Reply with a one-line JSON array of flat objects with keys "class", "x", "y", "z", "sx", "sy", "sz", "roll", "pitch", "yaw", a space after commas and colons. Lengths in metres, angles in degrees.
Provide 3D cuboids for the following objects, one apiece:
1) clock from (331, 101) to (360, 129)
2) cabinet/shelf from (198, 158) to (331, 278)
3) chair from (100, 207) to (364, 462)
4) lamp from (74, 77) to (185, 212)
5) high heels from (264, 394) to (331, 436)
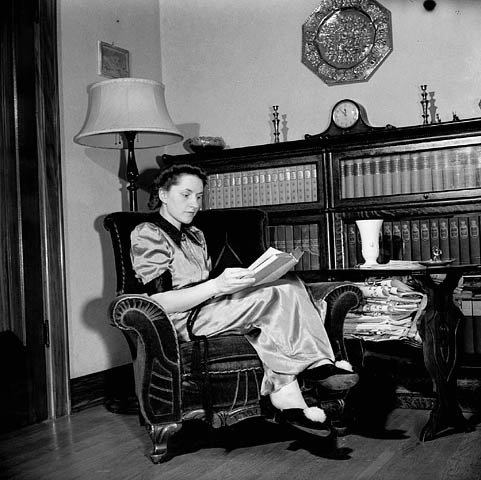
[{"class": "clock", "x": 0.601, "y": -0.699, "z": 4.050, "sx": 0.131, "sy": 0.178, "sz": 0.162, "roll": 1, "pitch": 1, "yaw": 17}, {"class": "cabinet/shelf", "x": 0.163, "y": -0.116, "z": 3.762, "sx": 0.567, "sy": 0.634, "sz": 0.187, "roll": -1, "pitch": -2, "yaw": 25}, {"class": "chair", "x": -0.069, "y": 0.361, "z": 3.075, "sx": 0.996, "sy": 1.016, "sz": 0.922, "roll": -4, "pitch": 3, "yaw": -17}, {"class": "lamp", "x": -0.587, "y": -0.395, "z": 3.861, "sx": 0.517, "sy": 0.871, "sz": 0.542, "roll": -2, "pitch": -1, "yaw": -30}, {"class": "high heels", "x": 0.200, "y": 0.687, "z": 2.786, "sx": 0.116, "sy": 0.097, "sz": 0.346, "roll": 7, "pitch": -7, "yaw": -38}]
